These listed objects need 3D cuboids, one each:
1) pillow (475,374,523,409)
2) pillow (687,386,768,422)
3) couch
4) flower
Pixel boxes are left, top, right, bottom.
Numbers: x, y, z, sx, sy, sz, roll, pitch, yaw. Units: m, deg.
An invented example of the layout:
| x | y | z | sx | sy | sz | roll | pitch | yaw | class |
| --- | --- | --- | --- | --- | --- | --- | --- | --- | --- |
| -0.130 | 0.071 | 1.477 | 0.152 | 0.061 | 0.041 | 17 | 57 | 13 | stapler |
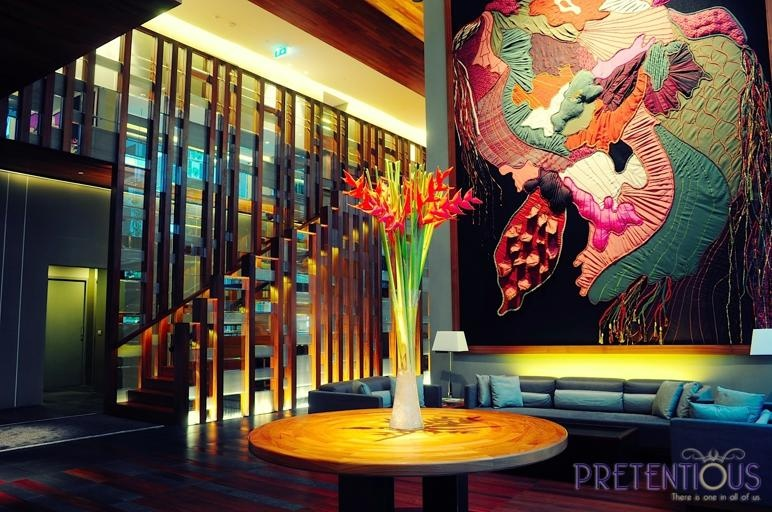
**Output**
| x | y | z | sx | sy | sz | roll | pitch | yaw | class |
| --- | --- | --- | --- | --- | --- | --- | --- | --- | --- |
| 1.560 | 1.872 | 8.599 | 0.680 | 0.529 | 0.365 | 3 | -17 | -6 | pillow |
| 3.745 | 1.631 | 6.878 | 0.584 | 0.219 | 0.595 | -12 | -9 | 40 | pillow |
| 2.571 | 2.081 | 8.231 | 2.740 | 0.994 | 0.909 | -7 | -10 | 38 | couch |
| 0.170 | 0.072 | 4.982 | 0.980 | 1.416 | 0.495 | 0 | 0 | -4 | flower |
